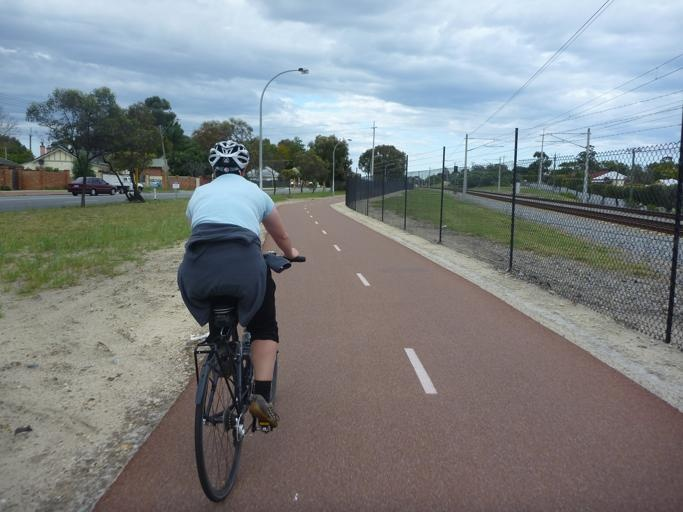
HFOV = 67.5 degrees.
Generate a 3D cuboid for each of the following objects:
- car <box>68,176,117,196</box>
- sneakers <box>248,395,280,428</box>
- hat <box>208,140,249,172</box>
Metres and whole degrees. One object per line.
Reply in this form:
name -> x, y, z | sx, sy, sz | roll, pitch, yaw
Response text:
car -> -23.446, -6.502, 47.473 | 1.700, 2.071, 6.434 | -1, 14, -3
sneakers -> -0.664, 1.355, 4.345 | 0.126, 0.403, 0.177 | -20, 28, 9
hat -> -1.016, -0.894, 4.565 | 0.246, 0.341, 0.333 | 0, -11, -8
